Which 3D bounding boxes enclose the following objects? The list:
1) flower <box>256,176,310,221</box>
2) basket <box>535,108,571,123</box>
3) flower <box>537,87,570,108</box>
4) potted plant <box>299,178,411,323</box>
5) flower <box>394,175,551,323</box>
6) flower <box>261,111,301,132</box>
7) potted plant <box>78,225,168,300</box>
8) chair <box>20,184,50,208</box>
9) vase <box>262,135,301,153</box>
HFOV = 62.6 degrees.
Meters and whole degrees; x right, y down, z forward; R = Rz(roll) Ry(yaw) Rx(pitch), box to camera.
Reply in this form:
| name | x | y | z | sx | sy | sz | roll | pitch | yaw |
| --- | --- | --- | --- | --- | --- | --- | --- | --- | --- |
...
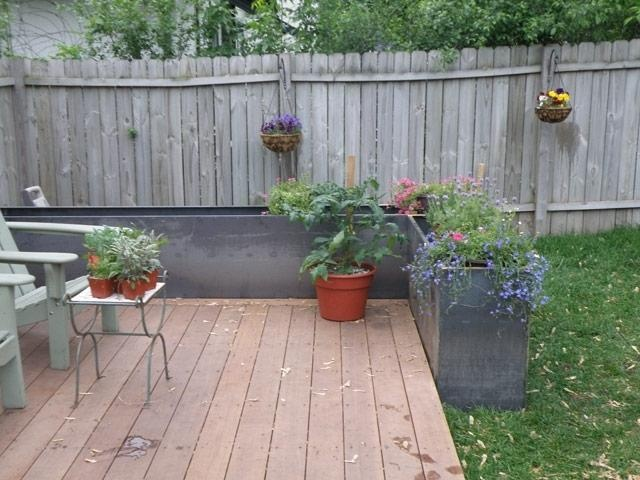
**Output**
| name | x | y | z | sx | sy | sz | roll | pitch | yaw |
| --- | --- | --- | --- | --- | --- | --- | --- | --- | --- |
| flower | -0.244 | -0.338 | 4.735 | 0.403 | 0.235 | 0.418 | 12 | 7 | -10 |
| basket | 2.332 | -1.261 | 5.295 | 0.314 | 0.143 | 0.124 | 5 | 16 | 20 |
| flower | 2.350 | -1.438 | 5.329 | 0.270 | 0.175 | 0.263 | 5 | 16 | 19 |
| potted plant | 0.244 | 0.037 | 4.322 | 0.871 | 1.113 | 0.856 | 2 | 16 | 9 |
| flower | 0.958 | 0.046 | 3.263 | 0.999 | 0.376 | 1.115 | 0 | 17 | 6 |
| flower | -0.401 | -1.188 | 5.394 | 0.415 | 0.182 | 0.194 | -2 | 15 | -7 |
| potted plant | -1.230 | 0.127 | 3.261 | 0.462 | 0.388 | 0.356 | 4 | 16 | 15 |
| chair | -2.674 | -0.402 | 4.950 | 0.137 | 0.190 | 0.276 | 3 | 15 | 11 |
| vase | -0.407 | -0.996 | 5.365 | 0.382 | 0.182 | 0.124 | -3 | 16 | -8 |
